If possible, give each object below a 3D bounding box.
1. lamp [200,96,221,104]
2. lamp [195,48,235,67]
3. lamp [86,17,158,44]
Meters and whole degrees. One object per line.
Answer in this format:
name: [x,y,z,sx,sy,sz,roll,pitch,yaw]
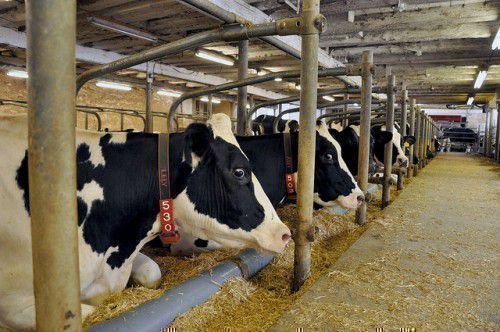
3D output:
lamp: [-1.525,-2.470,16.964,0.611,0.147,0.588,2,0,-29]
lamp: [-0.704,-2.180,9.069,0.101,0.210,1.258,3,4,32]
lamp: [-2.190,-2.335,7.747,0.169,0.178,1.268,-2,-6,34]
